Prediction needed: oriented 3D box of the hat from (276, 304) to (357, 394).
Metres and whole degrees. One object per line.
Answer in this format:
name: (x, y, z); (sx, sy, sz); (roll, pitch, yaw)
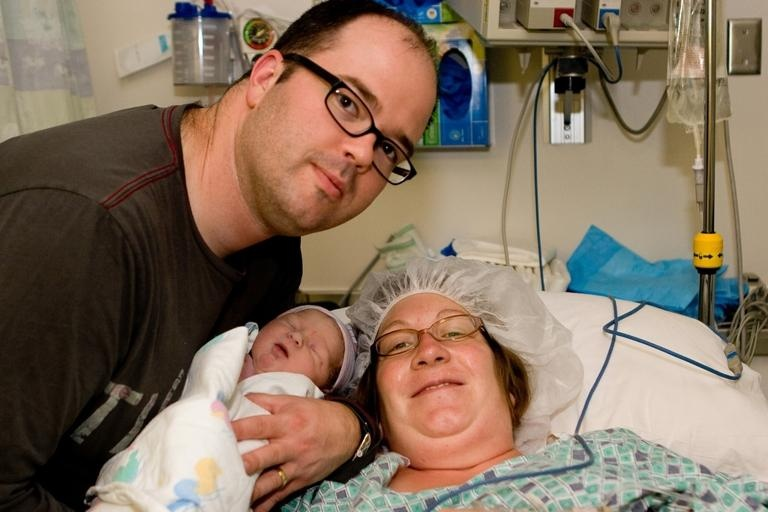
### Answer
hat: (-0.216, 0.300, 2.327); (0.258, 0.307, 0.071); (4, 20, 45)
